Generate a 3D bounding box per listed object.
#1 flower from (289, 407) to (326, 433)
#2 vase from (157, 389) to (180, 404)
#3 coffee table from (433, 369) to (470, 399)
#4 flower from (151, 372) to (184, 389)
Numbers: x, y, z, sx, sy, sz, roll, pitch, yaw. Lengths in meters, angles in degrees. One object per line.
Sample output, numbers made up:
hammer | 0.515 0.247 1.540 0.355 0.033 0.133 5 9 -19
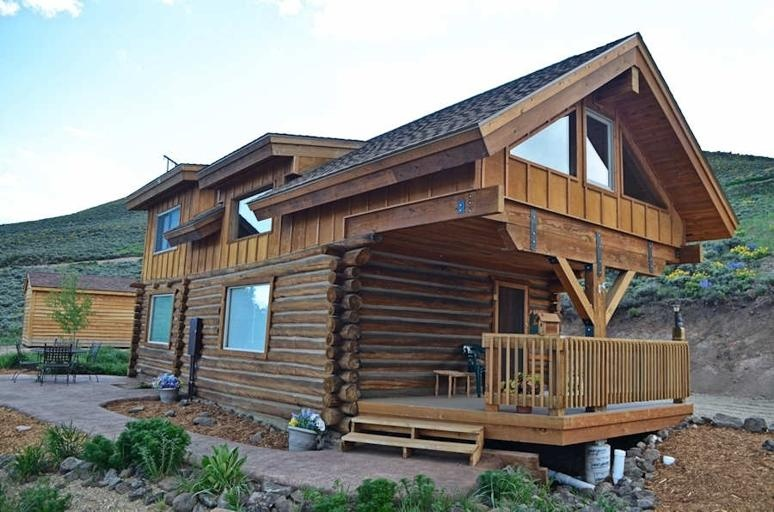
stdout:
flower | -1.779 3.668 11.813 0.600 0.315 0.578 14 -19 -21
vase | -6.490 4.151 15.799 0.526 0.350 0.502 -1 -6 12
coffee table | 1.646 3.153 13.354 0.887 0.538 0.841 2 -4 -22
flower | -6.632 3.775 15.842 0.745 0.379 0.685 -7 -10 41
